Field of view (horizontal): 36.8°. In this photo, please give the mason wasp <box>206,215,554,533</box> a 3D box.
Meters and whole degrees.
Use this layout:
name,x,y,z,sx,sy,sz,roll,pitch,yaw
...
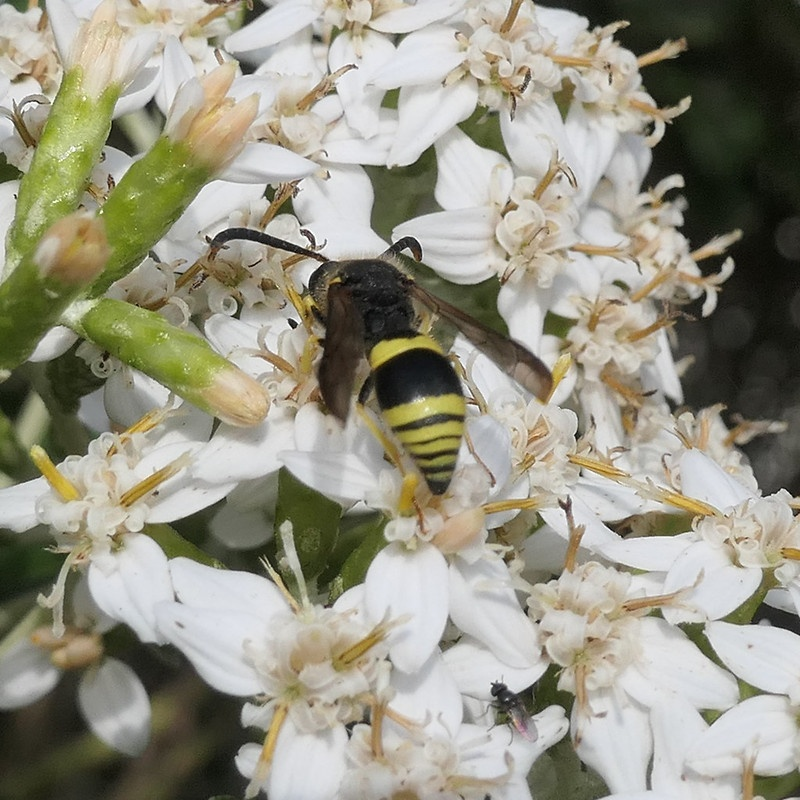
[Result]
name,x,y,z,sx,sy,sz,roll,pitch,yaw
mason wasp,-0.021,-0.071,1.337,0.273,0.120,0.390,-13,48,-25
